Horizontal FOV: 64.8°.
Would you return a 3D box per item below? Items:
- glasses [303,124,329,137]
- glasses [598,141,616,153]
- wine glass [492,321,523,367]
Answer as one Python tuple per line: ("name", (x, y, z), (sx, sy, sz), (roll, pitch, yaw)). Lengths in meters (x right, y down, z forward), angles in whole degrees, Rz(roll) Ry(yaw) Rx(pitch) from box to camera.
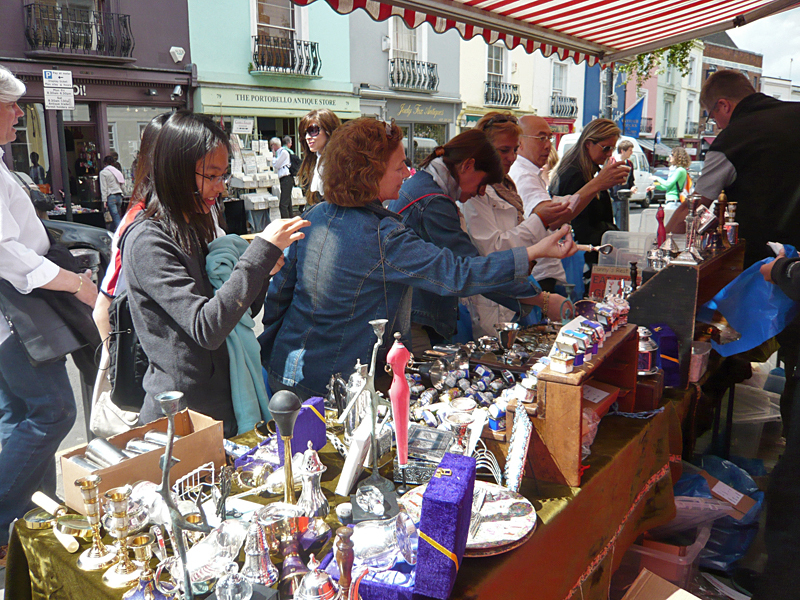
("glasses", (-0.807, -1.570, 5.850), (0.117, 0.045, 0.123), (3, -3, 41))
("glasses", (1.793, -1.323, 5.396), (0.090, 0.053, 0.123), (0, 32, 35))
("wine glass", (0.507, 0.212, 2.896), (0.130, 0.237, 0.148), (-3, 0, 32))
